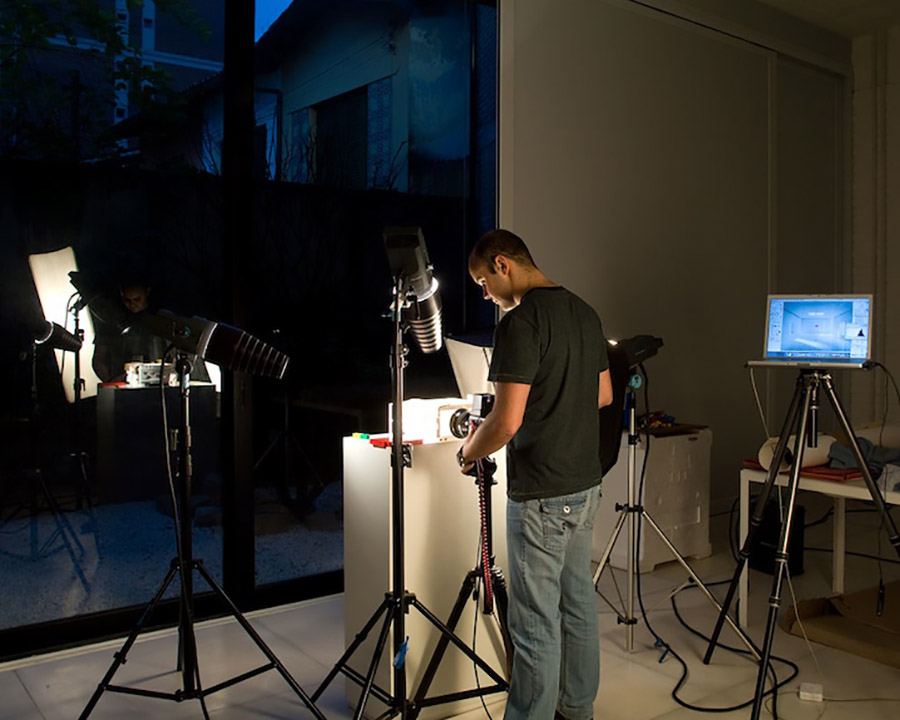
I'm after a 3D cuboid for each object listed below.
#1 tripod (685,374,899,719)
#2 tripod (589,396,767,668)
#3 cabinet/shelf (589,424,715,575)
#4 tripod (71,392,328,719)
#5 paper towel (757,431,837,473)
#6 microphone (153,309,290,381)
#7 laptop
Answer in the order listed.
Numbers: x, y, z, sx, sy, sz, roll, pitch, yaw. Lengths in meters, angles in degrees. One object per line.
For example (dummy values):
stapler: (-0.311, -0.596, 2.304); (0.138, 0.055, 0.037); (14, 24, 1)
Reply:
tripod: (1.767, 0.744, 3.976); (0.988, 1.462, 1.815); (0, 3, 20)
tripod: (0.902, 0.769, 4.057); (0.815, 1.293, 0.834); (-4, -17, 15)
cabinet/shelf: (1.633, 0.973, 5.428); (0.744, 0.867, 0.816); (-4, -18, 26)
tripod: (-1.306, 0.980, 4.074); (0.994, 1.800, 0.893); (-1, 11, -11)
paper towel: (1.812, 0.475, 4.255); (0.396, 0.170, 0.231); (-2, 2, -32)
microphone: (-0.937, -0.069, 3.279); (0.535, 0.266, 0.159); (0, 3, 15)
laptop: (1.827, -0.201, 4.047); (0.458, 0.382, 0.332); (3, 22, 25)
